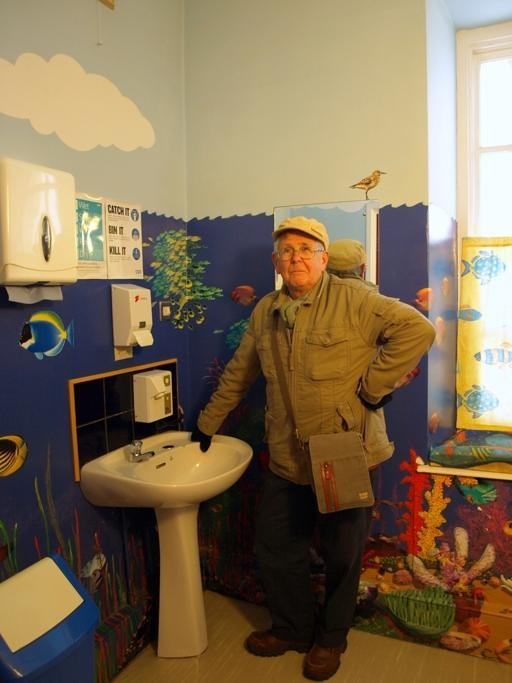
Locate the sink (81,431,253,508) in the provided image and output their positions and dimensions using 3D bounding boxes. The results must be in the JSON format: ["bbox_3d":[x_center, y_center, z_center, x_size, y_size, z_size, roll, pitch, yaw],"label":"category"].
[{"bbox_3d":[-0.280,0.485,1.923,0.500,0.200,0.591,0,4,20],"label":"sink"}]

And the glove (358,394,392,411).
[{"bbox_3d":[0.378,0.199,1.657,0.108,0.067,0.059,-9,11,-36],"label":"glove"}]

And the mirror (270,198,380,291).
[{"bbox_3d":[0.267,-0.344,1.854,0.374,0.420,0.034,0,-3,31],"label":"mirror"}]

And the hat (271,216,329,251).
[{"bbox_3d":[0.168,-0.354,1.700,0.101,0.053,0.152,8,-9,21],"label":"hat"}]

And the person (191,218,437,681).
[{"bbox_3d":[0.197,0.399,1.819,0.429,1.620,0.752,-6,10,-28],"label":"person"}]

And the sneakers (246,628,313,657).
[{"bbox_3d":[0.085,1.117,1.983,0.228,0.115,0.097,3,1,9],"label":"sneakers"}]

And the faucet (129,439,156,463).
[{"bbox_3d":[-0.413,0.397,1.914,0.053,0.076,0.096,0,3,10],"label":"faucet"}]
